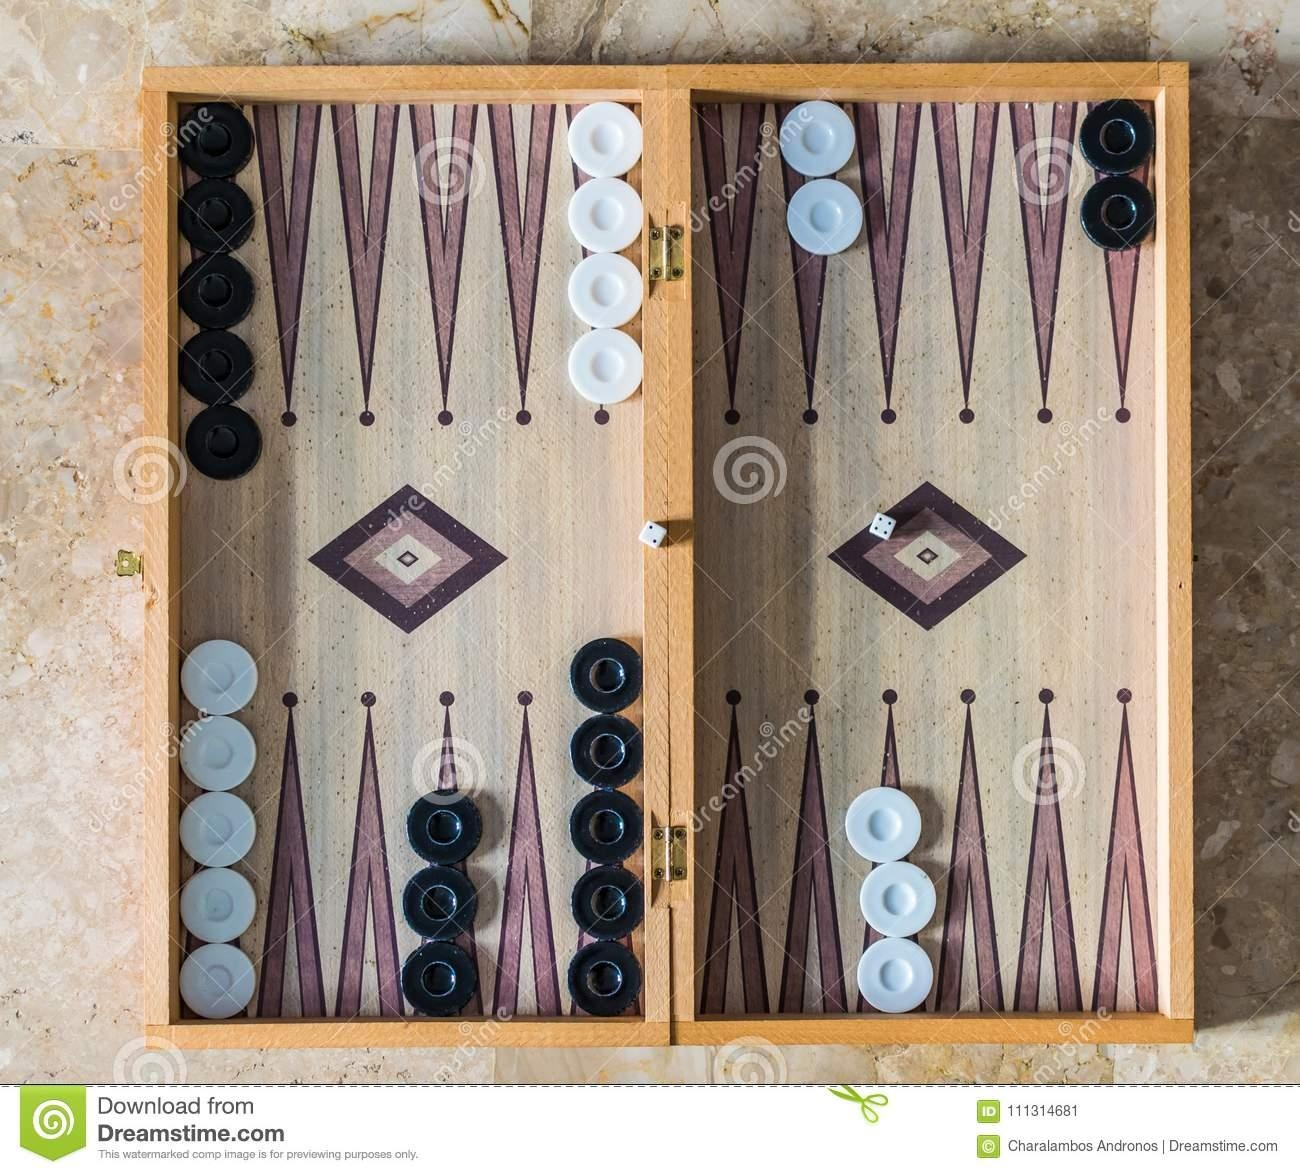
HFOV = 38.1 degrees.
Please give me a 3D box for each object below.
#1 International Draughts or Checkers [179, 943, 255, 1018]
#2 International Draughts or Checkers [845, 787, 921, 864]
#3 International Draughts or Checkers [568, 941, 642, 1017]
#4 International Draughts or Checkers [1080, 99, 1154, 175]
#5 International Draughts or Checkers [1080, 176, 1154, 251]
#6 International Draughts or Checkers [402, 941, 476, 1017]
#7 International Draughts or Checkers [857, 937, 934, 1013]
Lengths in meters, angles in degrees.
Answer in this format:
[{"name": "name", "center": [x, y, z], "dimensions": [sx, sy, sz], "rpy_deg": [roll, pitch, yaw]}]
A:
[{"name": "International Draughts or Checkers", "center": [-1.136, 1.030, 4.946], "dimensions": [0.191, 0.052, 0.189], "rpy_deg": [9, 77, 3]}, {"name": "International Draughts or Checkers", "center": [0.613, 0.618, 4.966], "dimensions": [0.183, 0.044, 0.171], "rpy_deg": [2, 77, 1]}, {"name": "International Draughts or Checkers", "center": [-0.125, 1.024, 4.940], "dimensions": [0.169, 0.047, 0.177], "rpy_deg": [12, 65, 11]}, {"name": "International Draughts or Checkers", "center": [1.257, -1.152, 5.025], "dimensions": [0.215, 0.223, 0.054], "rpy_deg": [13, 87, 11]}, {"name": "International Draughts or Checkers", "center": [1.235, -0.986, 4.982], "dimensions": [0.196, 0.075, 0.183], "rpy_deg": [-1, 77, 1]}, {"name": "International Draughts or Checkers", "center": [-0.550, 1.025, 4.957], "dimensions": [0.193, 0.068, 0.192], "rpy_deg": [0, 77, 1]}, {"name": "International Draughts or Checkers", "center": [0.640, 1.018, 4.955], "dimensions": [0.187, 0.060, 0.192], "rpy_deg": [1, 77, 1]}]
